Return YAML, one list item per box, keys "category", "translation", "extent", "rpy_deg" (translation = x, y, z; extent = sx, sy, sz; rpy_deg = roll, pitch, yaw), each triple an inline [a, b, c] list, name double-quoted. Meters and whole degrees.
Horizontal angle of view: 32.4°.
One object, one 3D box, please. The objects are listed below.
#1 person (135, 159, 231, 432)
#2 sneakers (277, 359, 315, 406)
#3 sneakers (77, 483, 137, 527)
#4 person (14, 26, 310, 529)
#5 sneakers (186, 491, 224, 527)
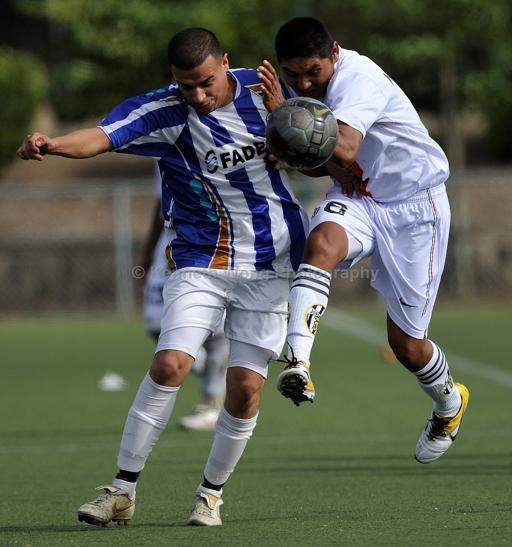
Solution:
- category: "person"
  translation: [-0.415, 0.182, 7.576]
  extent: [1.120, 0.894, 2.633]
  rpy_deg: [-1, 49, 0]
- category: "sneakers"
  translation: [0.163, 0.441, 3.566]
  extent: [0.108, 0.125, 0.245]
  rpy_deg: [-7, -32, 6]
- category: "sneakers"
  translation: [-0.639, 1.012, 3.766]
  extent: [0.135, 0.178, 0.260]
  rpy_deg: [8, 9, 24]
- category: "person"
  translation: [-0.273, 0.019, 3.937]
  extent: [1.180, 2.210, 0.682]
  rpy_deg: [1, 10, -16]
- category: "sneakers"
  translation: [-0.234, 1.040, 3.951]
  extent: [0.142, 0.109, 0.344]
  rpy_deg: [17, -3, 3]
